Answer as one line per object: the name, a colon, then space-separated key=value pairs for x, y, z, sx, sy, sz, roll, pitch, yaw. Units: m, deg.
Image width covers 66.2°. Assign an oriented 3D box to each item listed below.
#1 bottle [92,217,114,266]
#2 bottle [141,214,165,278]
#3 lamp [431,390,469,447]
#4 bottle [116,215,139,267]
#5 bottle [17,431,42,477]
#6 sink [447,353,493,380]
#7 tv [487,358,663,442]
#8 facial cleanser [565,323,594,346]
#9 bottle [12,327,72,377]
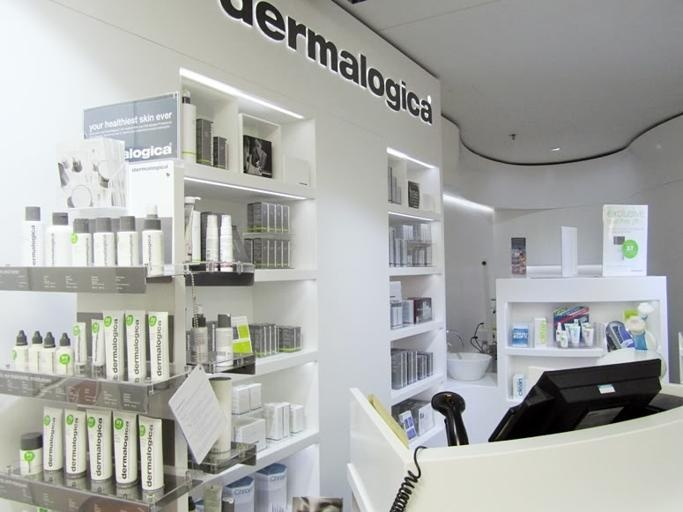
bottle: x=-0.919 y=-0.053 z=2.008 sx=0.130 sy=0.182 sz=0.061 roll=-3 pitch=-3 yaw=30
bottle: x=-0.700 y=-0.043 z=1.947 sx=0.077 sy=0.232 sz=0.140 roll=-1 pitch=-2 yaw=-21
lamp: x=0.407 y=0.627 z=1.978 sx=0.125 sy=0.212 sz=0.317 roll=-2 pitch=-2 yaw=9
bottle: x=-0.801 y=-0.055 z=1.967 sx=0.082 sy=0.191 sz=0.175 roll=-1 pitch=-2 yaw=-24
bottle: x=-1.204 y=0.763 z=2.043 sx=0.092 sy=0.147 sz=0.085 roll=-2 pitch=-4 yaw=0
sink: x=1.379 y=1.183 z=5.654 sx=0.456 sy=0.226 sz=0.597 roll=-3 pitch=-2 yaw=12
tv: x=0.851 y=0.513 z=1.868 sx=0.607 sy=0.285 sz=0.265 roll=-2 pitch=-2 yaw=-16
facial cleanser: x=2.254 y=0.736 z=4.948 sx=0.275 sy=0.215 sz=0.137 roll=-2 pitch=-2 yaw=5
bottle: x=-1.185 y=0.382 z=2.059 sx=0.140 sy=0.126 sz=0.049 roll=2 pitch=4 yaw=22
